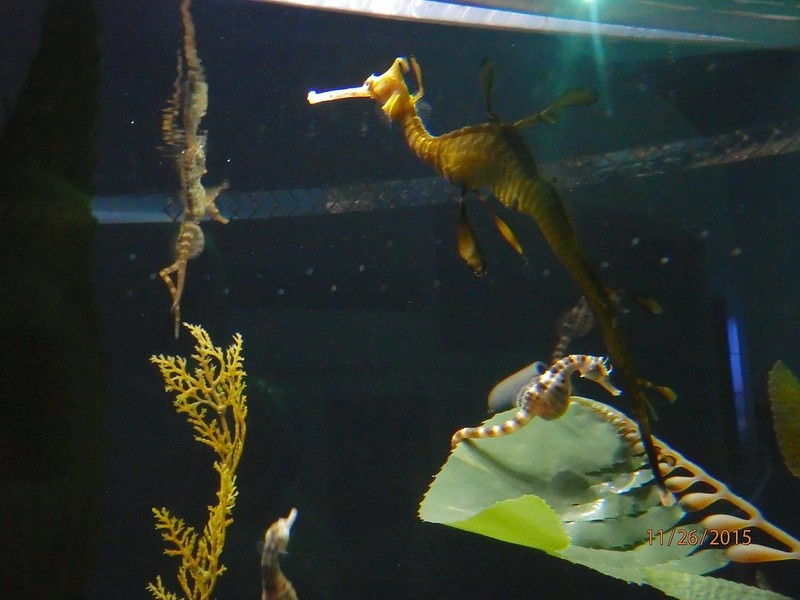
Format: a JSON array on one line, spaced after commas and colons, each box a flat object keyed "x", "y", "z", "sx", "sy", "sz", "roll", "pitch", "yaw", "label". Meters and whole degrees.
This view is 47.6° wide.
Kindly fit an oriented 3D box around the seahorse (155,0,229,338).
[{"x": -0.603, "y": -0.371, "z": 2.576, "sx": 0.224, "sy": 0.105, "sz": 0.911, "roll": -1, "pitch": 102, "yaw": -6, "label": "seahorse"}]

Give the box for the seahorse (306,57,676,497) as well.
[{"x": 0.212, "y": -0.296, "z": 2.439, "sx": 0.404, "sy": 0.471, "sz": 1.608, "roll": -29, "pitch": 79, "yaw": 27, "label": "seahorse"}]
